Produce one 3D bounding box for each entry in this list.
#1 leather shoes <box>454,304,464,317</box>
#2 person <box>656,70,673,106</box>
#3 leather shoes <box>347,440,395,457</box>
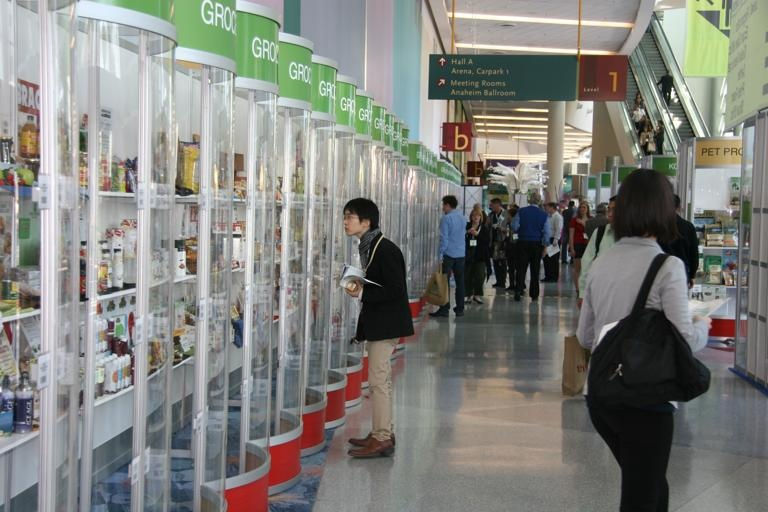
[{"bbox_3d":[1.239,0.903,10.251,0.125,0.199,0.196,1,-6,0],"label":"leather shoes"},{"bbox_3d":[7.804,-4.618,17.016,0.297,0.834,0.365,2,4,28],"label":"person"},{"bbox_3d":[-0.123,1.417,4.629,0.366,0.184,0.137,2,-1,-9],"label":"leather shoes"}]
